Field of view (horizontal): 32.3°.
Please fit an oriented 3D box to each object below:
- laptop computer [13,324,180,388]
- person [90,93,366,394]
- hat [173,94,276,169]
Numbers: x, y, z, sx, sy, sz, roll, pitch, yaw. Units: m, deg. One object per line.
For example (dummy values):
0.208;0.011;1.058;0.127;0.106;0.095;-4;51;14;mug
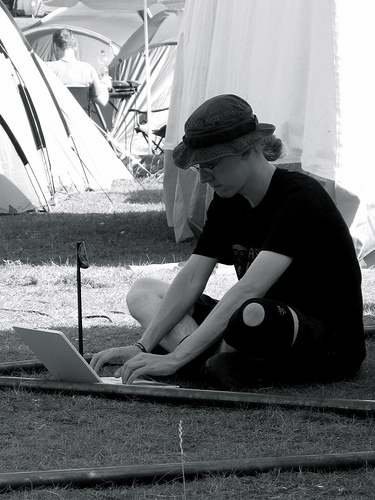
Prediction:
-0.340;0.331;2.012;0.327;0.242;0.322;-4;7;-30;laptop computer
0.172;-0.007;2.090;0.736;0.956;0.483;3;7;23;person
0.101;-0.372;1.993;0.367;0.187;0.336;-13;14;13;hat
